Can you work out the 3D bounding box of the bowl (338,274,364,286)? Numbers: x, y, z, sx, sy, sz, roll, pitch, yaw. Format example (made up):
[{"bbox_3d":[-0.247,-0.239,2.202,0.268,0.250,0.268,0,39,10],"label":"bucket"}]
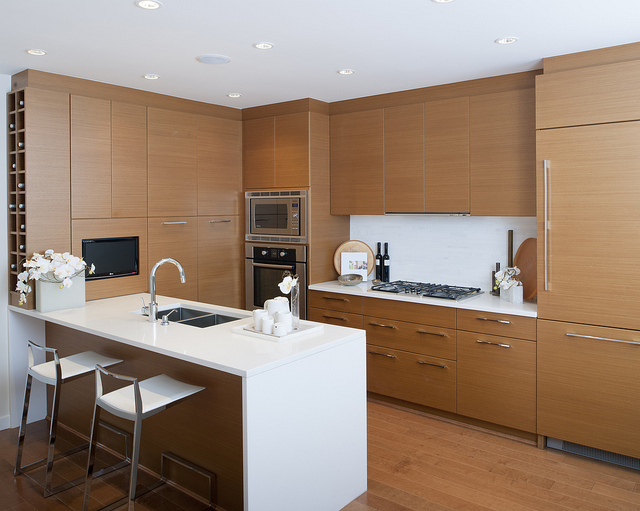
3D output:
[{"bbox_3d":[0.320,0.245,4.675,0.255,0.095,0.153,-1,9,-5],"label":"bowl"}]

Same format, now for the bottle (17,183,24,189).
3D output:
[{"bbox_3d":[-2.340,-0.551,3.679,0.071,0.035,0.033,1,0,5],"label":"bottle"}]

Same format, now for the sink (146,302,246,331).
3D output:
[{"bbox_3d":[-0.940,0.492,3.538,0.673,0.152,0.280,6,11,40],"label":"sink"}]

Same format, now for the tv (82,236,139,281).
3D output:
[{"bbox_3d":[-1.837,0.018,4.168,0.651,0.352,0.053,-4,-4,22],"label":"tv"}]

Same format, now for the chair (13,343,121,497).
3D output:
[{"bbox_3d":[-1.911,1.225,3.672,0.734,0.832,0.549,10,-24,-23],"label":"chair"}]

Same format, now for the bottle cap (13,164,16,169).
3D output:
[{"bbox_3d":[-2.443,-0.714,3.754,0.012,0.036,0.048,-8,12,-35],"label":"bottle cap"}]

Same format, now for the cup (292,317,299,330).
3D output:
[{"bbox_3d":[-0.156,0.430,2.982,0.039,0.075,0.066,-1,10,-5],"label":"cup"}]

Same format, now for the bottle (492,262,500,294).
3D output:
[{"bbox_3d":[1.544,0.215,4.135,0.070,0.261,0.267,4,10,20],"label":"bottle"}]

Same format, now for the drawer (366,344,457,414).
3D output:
[{"bbox_3d":[0.832,1.076,4.070,1.024,0.380,0.611,1,-1,36],"label":"drawer"}]

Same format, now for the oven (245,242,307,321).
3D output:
[{"bbox_3d":[-0.281,0.266,5.131,0.865,0.823,0.723,3,5,27],"label":"oven"}]

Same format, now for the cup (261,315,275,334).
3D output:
[{"bbox_3d":[-0.326,0.431,2.881,0.080,0.097,0.064,1,10,6],"label":"cup"}]

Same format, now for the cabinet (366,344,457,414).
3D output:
[{"bbox_3d":[0.803,1.071,4.094,1.026,0.387,0.610,1,-1,36],"label":"cabinet"}]

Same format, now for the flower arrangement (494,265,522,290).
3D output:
[{"bbox_3d":[1.556,0.195,3.883,0.121,0.181,0.214,-2,9,-11],"label":"flower arrangement"}]

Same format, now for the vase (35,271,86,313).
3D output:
[{"bbox_3d":[-2.037,0.283,3.654,0.139,0.291,0.407,2,2,42],"label":"vase"}]

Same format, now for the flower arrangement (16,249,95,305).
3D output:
[{"bbox_3d":[-2.055,0.179,3.677,0.301,0.236,0.508,17,-1,40],"label":"flower arrangement"}]

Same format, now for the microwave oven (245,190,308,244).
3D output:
[{"bbox_3d":[-0.286,-0.423,4.992,0.950,0.528,0.543,6,9,43],"label":"microwave oven"}]

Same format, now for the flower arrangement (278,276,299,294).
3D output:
[{"bbox_3d":[-0.209,0.190,2.964,0.124,0.092,0.035,6,-17,8],"label":"flower arrangement"}]

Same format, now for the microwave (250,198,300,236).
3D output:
[{"bbox_3d":[-0.479,-0.404,4.850,0.732,0.364,0.458,2,2,37],"label":"microwave"}]
